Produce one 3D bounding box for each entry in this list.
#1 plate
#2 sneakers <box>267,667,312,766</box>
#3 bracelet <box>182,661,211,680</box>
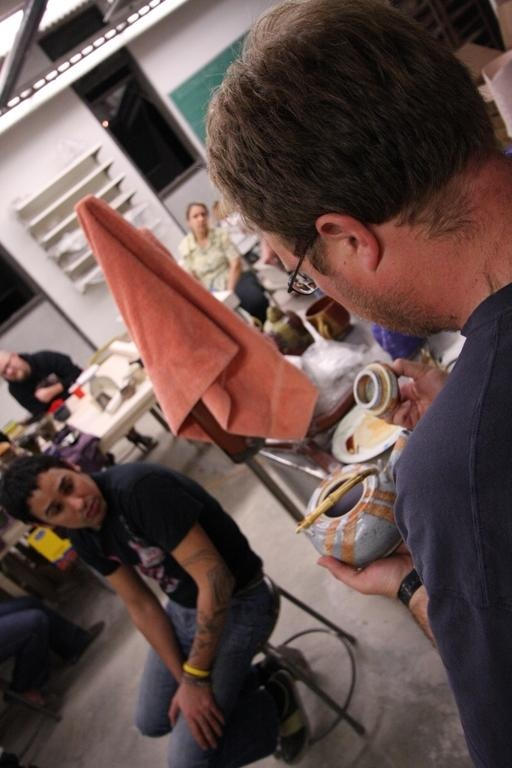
[{"bbox_3d":[0.294,0.134,1.581,0.154,0.026,0.150,-39,38,1],"label":"plate"},{"bbox_3d":[0.101,1.019,1.871,0.083,0.249,0.151,-15,-11,-29],"label":"sneakers"},{"bbox_3d":[-0.164,0.789,1.633,0.020,0.056,0.048,-60,27,-3],"label":"bracelet"}]
